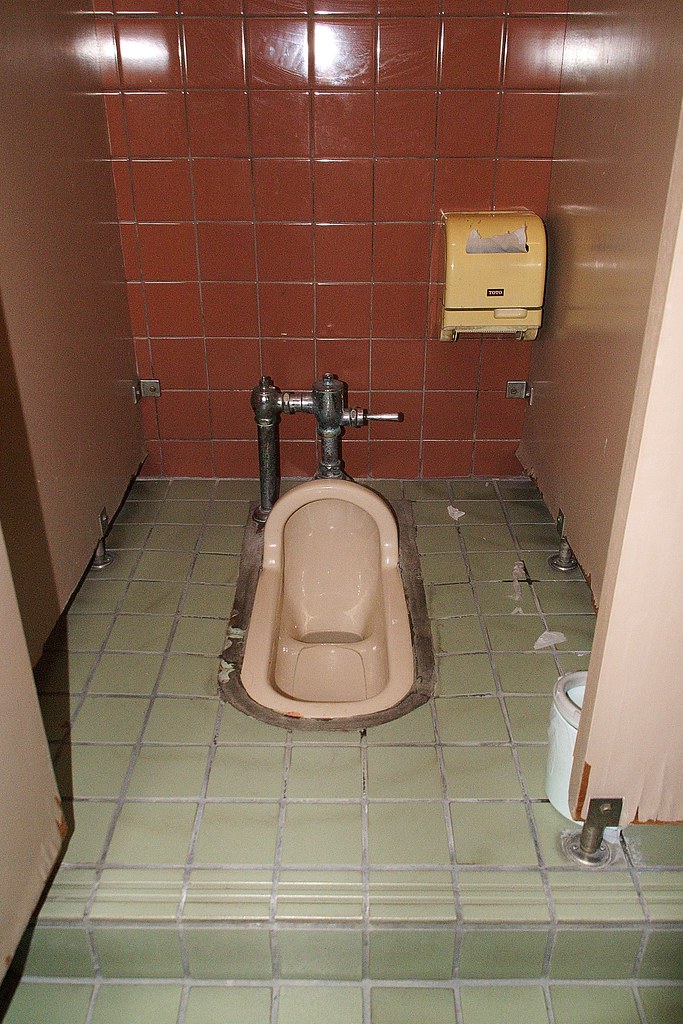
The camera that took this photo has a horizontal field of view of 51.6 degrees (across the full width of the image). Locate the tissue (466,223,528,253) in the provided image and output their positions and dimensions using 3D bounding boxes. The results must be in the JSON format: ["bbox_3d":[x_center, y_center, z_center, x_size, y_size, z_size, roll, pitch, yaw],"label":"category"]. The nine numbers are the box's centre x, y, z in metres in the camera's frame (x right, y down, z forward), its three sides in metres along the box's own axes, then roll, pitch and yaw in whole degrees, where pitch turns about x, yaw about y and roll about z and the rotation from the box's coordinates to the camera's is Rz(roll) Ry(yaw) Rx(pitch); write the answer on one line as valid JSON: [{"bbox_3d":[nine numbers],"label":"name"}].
[{"bbox_3d":[0.402,-0.701,1.809,0.135,0.080,0.026,-2,2,6],"label":"tissue"}]

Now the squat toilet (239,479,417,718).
[{"bbox_3d":[-0.030,0.227,1.753,0.321,0.240,0.567,1,54,2],"label":"squat toilet"}]

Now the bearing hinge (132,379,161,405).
[{"bbox_3d":[-0.618,-0.389,2.270,0.089,0.092,0.069,1,35,0],"label":"bearing hinge"}]

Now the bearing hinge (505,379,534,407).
[{"bbox_3d":[0.565,-0.368,2.235,0.093,0.070,0.024,0,13,2],"label":"bearing hinge"}]

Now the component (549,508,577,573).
[{"bbox_3d":[0.615,0.061,1.957,0.071,0.130,0.207,4,29,8],"label":"component"}]
